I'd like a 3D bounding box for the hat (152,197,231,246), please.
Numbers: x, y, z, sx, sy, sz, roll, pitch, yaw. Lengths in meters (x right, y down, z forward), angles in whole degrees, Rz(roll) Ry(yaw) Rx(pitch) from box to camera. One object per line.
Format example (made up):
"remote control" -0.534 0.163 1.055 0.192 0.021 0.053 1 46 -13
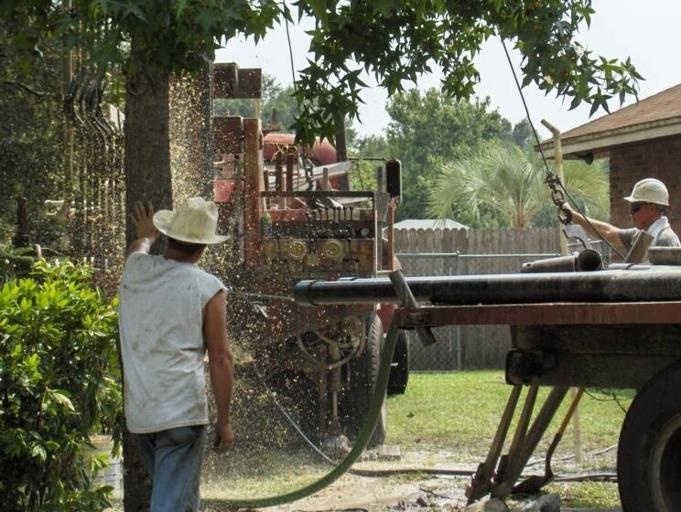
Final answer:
"hat" -1.283 -0.320 11.363 0.420 0.194 0.496 14 20 -19

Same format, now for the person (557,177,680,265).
"person" 2.797 -0.392 13.113 0.978 0.792 2.147 -2 1 14
